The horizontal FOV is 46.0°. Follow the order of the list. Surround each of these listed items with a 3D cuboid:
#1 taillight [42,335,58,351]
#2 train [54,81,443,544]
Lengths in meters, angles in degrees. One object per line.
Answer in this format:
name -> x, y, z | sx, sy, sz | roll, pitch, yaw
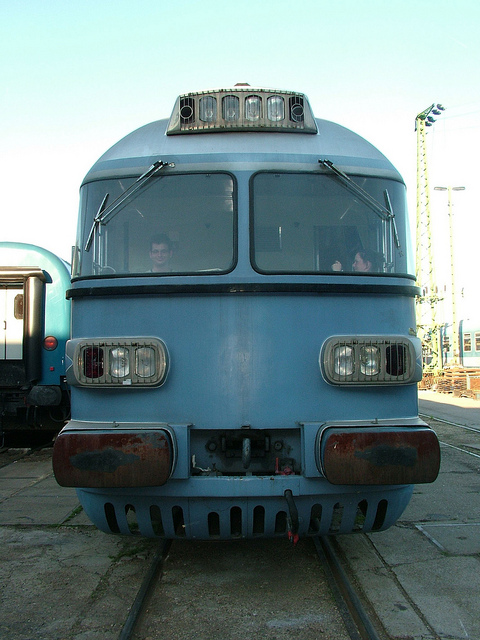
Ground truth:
taillight -> -2.495, 0.309, 7.421 | 0.161, 0.188, 0.028 | 5, -2, 0
train -> 0.157, -0.093, 5.522 | 2.137, 3.035, 4.925 | 1, 4, 5
